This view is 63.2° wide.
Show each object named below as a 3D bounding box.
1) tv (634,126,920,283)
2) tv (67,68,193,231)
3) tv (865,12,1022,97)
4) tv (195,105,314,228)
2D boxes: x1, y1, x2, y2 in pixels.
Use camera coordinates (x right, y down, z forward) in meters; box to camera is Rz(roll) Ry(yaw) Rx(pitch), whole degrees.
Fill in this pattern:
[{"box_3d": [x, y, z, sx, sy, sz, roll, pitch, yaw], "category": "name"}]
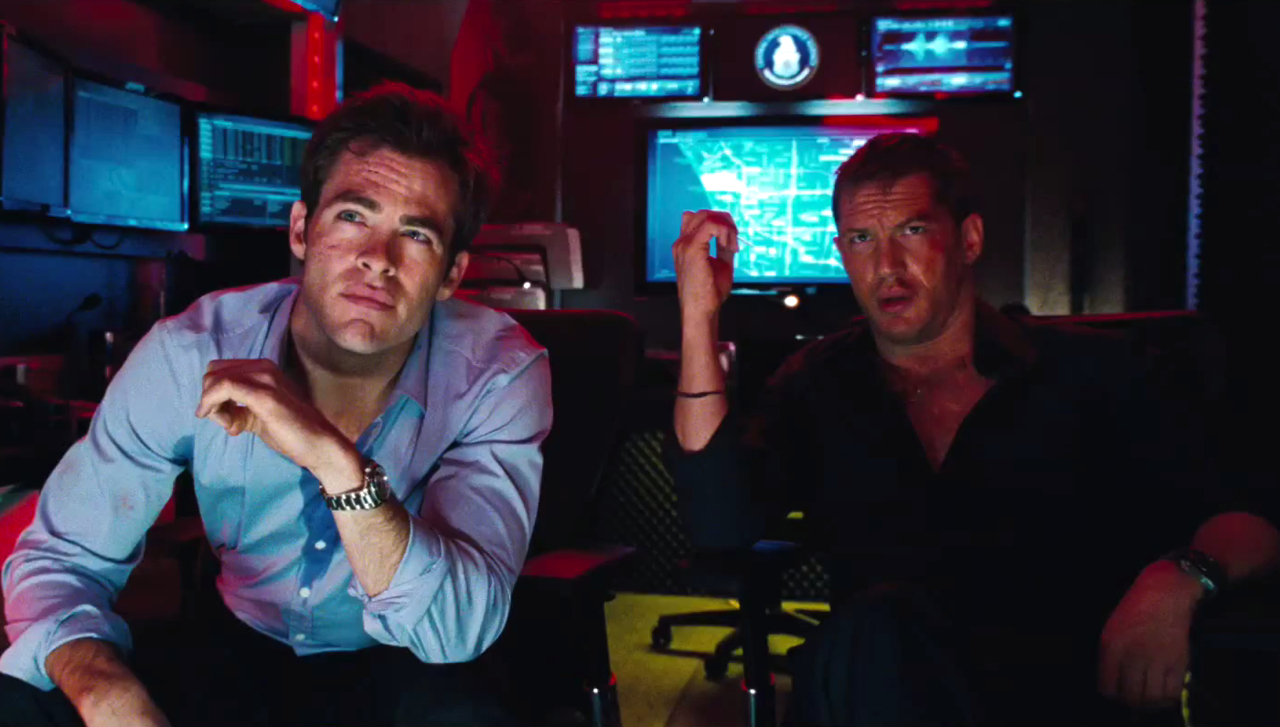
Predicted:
[{"box_3d": [0.763, -0.862, 5.708, 1.836, 0.912, 0.202, -4, 13, -26], "category": "tv"}, {"box_3d": [-2.677, -1.067, 5.309, 0.830, 0.674, 0.080, 5, 12, 25], "category": "tv"}, {"box_3d": [1.665, -1.675, 5.685, 0.786, 0.425, 0.077, 2, 3, 7], "category": "tv"}, {"box_3d": [-2.210, -1.064, 5.788, 0.213, 0.807, 0.963, 13, 20, 22], "category": "tv"}]
